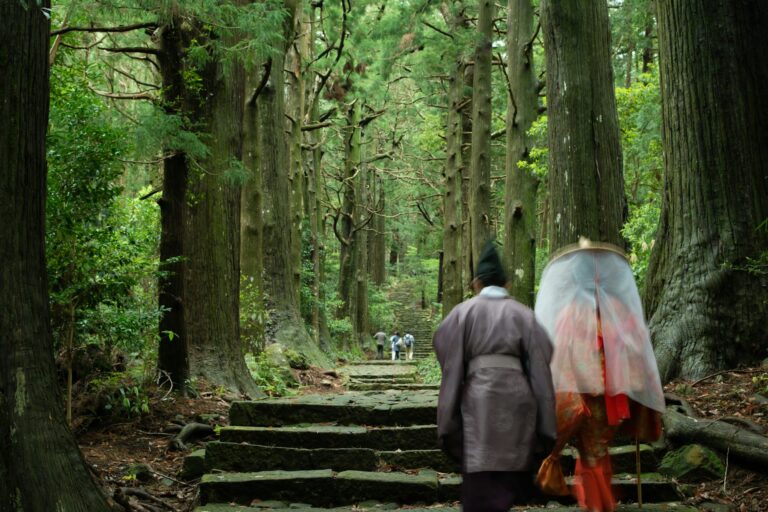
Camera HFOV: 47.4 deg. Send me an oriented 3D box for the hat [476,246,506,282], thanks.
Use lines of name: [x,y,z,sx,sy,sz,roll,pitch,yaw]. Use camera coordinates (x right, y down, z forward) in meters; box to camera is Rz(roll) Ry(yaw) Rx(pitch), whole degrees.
hat: [1.217,0.099,10.296,0.364,0.414,0.397,5,10,-14]
